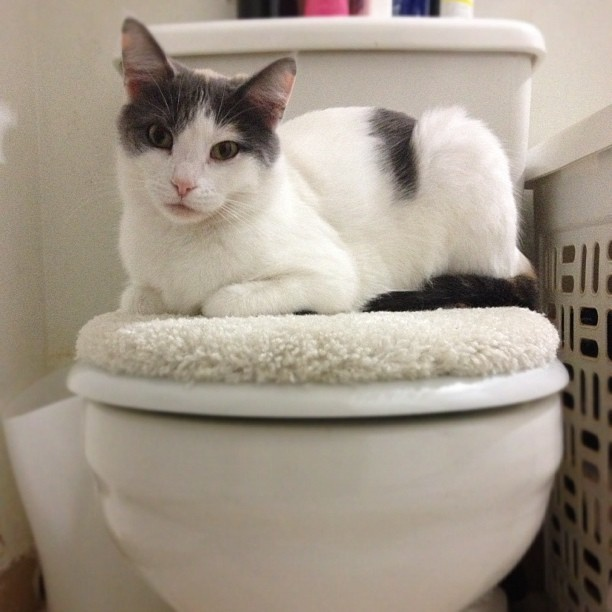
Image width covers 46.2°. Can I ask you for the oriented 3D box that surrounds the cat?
[{"bbox_3d":[0.030,-0.116,0.966,0.321,0.334,0.569,5,8,43],"label":"cat"}]
